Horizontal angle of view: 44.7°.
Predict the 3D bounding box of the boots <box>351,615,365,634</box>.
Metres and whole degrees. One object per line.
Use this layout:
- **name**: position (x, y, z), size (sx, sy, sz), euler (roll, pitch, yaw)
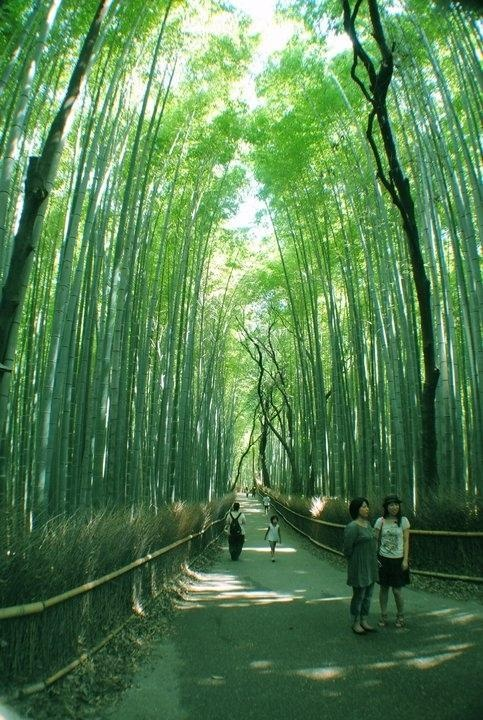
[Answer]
- **boots**: position (0.654, 1.485, 3.281), size (0.032, 0.084, 0.107), euler (-2, -29, -2)
